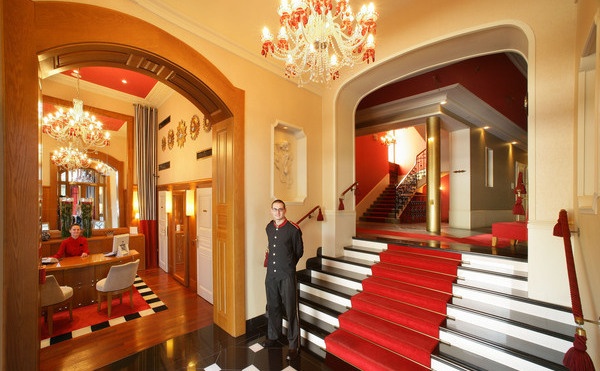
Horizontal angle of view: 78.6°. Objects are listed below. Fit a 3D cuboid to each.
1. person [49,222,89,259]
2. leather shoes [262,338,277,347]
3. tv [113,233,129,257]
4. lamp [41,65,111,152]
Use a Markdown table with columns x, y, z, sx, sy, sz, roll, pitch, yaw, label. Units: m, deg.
| x | y | z | sx | sy | sz | roll | pitch | yaw | label |
| --- | --- | --- | --- | --- | --- | --- | --- | --- | --- |
| -5.872 | 1.418 | 9.314 | 0.841 | 1.251 | 0.661 | 1 | 0 | -43 | person |
| -0.578 | 2.999 | 6.945 | 0.259 | 0.104 | 0.101 | 18 | -15 | -41 | leather shoes |
| -4.507 | 1.514 | 9.224 | 0.441 | 0.491 | 0.268 | 2 | -11 | -38 | tv |
| -5.791 | -1.669 | 9.504 | 1.441 | 1.060 | 1.461 | 3 | -1 | -1 | lamp |
